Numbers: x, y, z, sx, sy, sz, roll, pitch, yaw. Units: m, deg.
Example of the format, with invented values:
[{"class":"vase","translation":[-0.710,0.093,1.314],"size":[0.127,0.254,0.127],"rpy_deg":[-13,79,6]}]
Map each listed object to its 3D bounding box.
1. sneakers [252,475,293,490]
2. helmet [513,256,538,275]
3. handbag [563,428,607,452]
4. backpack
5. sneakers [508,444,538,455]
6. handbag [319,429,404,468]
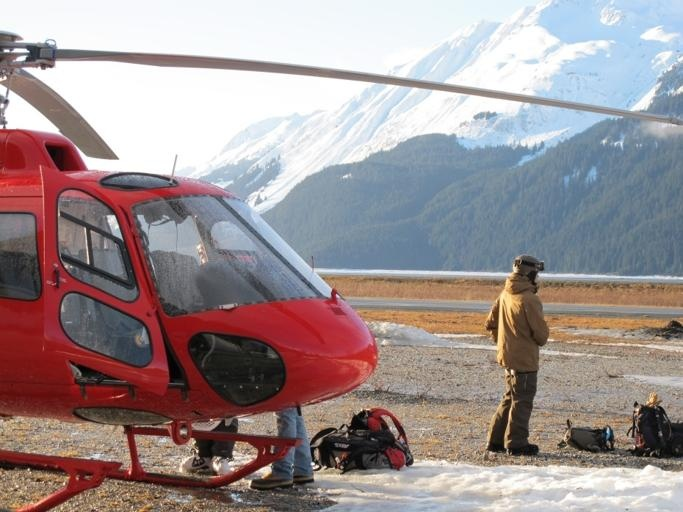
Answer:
[{"class":"sneakers","translation":[-0.806,2.616,10.268],"size":[0.498,0.144,0.170],"rpy_deg":[2,-2,-3]},{"class":"helmet","translation":[2.507,0.118,11.922],"size":[0.354,0.186,0.246],"rpy_deg":[-7,14,-12]},{"class":"handbag","translation":[3.324,2.484,11.945],"size":[0.552,0.263,0.267],"rpy_deg":[4,-5,-42]},{"class":"backpack","translation":[0.558,2.234,11.070],"size":[0.968,0.455,0.473],"rpy_deg":[28,37,35]},{"class":"sneakers","translation":[2.423,2.548,11.647],"size":[0.430,0.143,0.134],"rpy_deg":[3,-2,-2]},{"class":"handbag","translation":[0.170,2.390,10.936],"size":[0.760,0.245,0.693],"rpy_deg":[0,-3,27]}]
